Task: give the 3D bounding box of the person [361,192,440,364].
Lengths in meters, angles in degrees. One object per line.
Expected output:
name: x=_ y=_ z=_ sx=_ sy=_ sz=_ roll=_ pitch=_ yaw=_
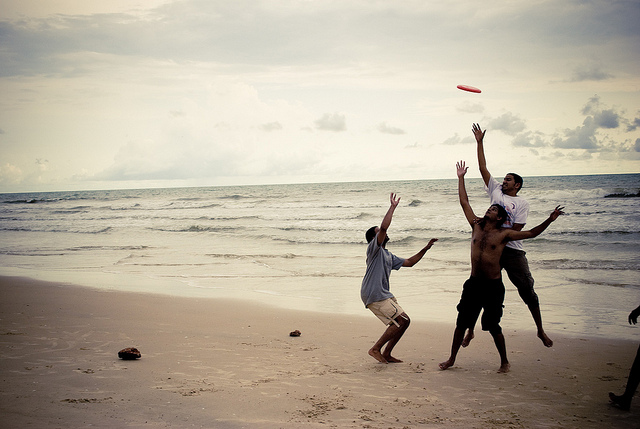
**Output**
person: x=1.294 y=1.223 z=12.562 sx=1.074 sy=3.208 sz=0.839 roll=6 pitch=15 yaw=13
